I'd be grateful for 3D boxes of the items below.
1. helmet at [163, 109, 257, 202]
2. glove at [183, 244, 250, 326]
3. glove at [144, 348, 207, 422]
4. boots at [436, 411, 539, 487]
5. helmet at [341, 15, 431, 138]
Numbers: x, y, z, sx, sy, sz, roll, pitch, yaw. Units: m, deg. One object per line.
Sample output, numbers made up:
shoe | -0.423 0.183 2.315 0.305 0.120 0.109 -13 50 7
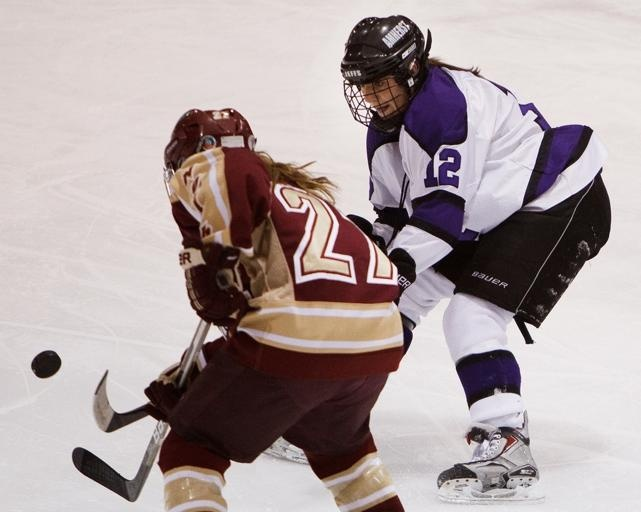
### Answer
helmet | -0.413 -0.391 3.337 0.272 0.282 0.310 -6 -10 -32
glove | -0.338 0.082 3.210 0.232 0.278 0.121 -14 1 11
glove | -0.577 0.492 3.363 0.085 0.314 0.269 37 53 2
boots | 0.641 0.770 3.648 0.447 0.254 0.135 -3 -4 -19
helmet | 0.286 -0.803 3.915 0.446 0.406 0.340 -33 33 -30
